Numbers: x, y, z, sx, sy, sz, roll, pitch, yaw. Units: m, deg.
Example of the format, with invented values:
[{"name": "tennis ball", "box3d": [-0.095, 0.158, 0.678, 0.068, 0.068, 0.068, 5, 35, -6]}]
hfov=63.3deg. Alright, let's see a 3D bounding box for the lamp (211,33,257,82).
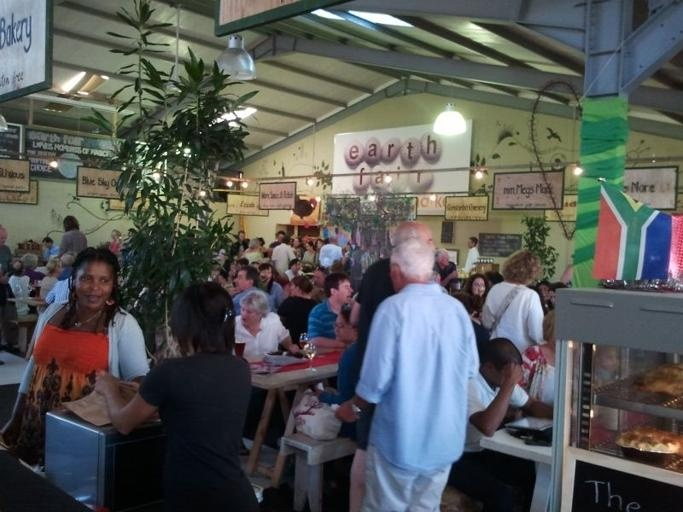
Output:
[{"name": "lamp", "box3d": [-1.149, -2.216, 6.087, 0.376, 0.689, 0.819, 1, 3, -7]}]
